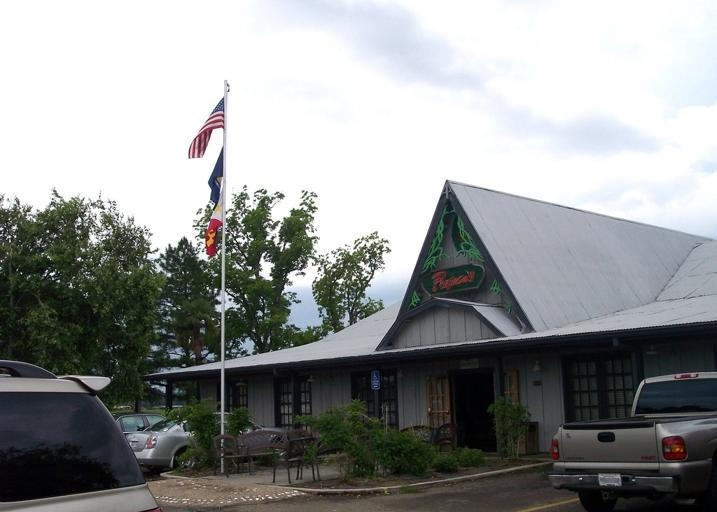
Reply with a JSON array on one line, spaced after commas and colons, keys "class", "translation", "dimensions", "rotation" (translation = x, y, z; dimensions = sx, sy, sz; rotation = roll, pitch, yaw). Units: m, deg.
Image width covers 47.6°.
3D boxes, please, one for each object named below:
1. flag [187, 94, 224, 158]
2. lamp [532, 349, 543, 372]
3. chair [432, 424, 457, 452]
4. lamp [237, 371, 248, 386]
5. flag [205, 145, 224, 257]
[{"class": "flag", "translation": [-4.387, -3.620, 23.386], "dimensions": [1.209, 1.902, 0.729], "rotation": [-15, -18, 37]}, {"class": "lamp", "translation": [5.048, 2.983, 22.912], "dimensions": [0.377, 0.532, 0.398], "rotation": [-10, -16, 25]}, {"class": "chair", "translation": [2.468, 5.100, 23.008], "dimensions": [0.592, 0.767, 1.909], "rotation": [-5, -17, 6]}, {"class": "lamp", "translation": [-4.638, 4.915, 32.187], "dimensions": [0.526, 0.440, 1.463], "rotation": [-1, -17, -9]}, {"class": "flag", "translation": [-4.078, -1.582, 23.076], "dimensions": [0.494, 2.899, 2.967], "rotation": [0, -16, -10]}]
